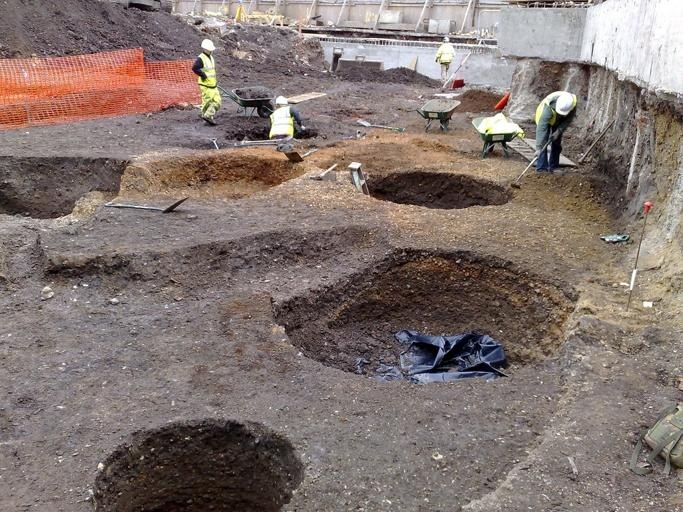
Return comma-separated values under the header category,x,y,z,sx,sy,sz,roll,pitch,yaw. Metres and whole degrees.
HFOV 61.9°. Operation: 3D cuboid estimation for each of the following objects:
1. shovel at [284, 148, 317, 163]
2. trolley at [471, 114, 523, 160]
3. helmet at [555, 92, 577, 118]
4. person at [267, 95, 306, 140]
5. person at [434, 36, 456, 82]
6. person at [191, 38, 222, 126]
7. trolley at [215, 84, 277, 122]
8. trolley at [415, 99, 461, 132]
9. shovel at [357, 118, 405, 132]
category,x,y,z,sx,sy,sz,roll,pitch,yaw
shovel,-0.694,-1.673,9.417,0.207,0.117,0.681,7,19,18
trolley,2.725,-2.152,10.063,0.799,0.453,1.058,-1,31,-6
helmet,3.315,-2.253,8.475,0.346,0.334,0.208,12,-1,8
person,-0.994,-2.465,10.293,0.682,0.448,1.072,-4,48,-4
person,3.493,-6.647,19.319,0.598,1.425,1.487,8,25,8
person,-2.688,-3.447,11.304,0.458,1.597,0.888,-2,28,-10
trolley,-1.886,-3.251,11.964,1.771,0.740,0.684,-9,44,-19
trolley,2.099,-3.045,12.200,0.872,0.481,1.105,9,35,21
shovel,0.800,-2.774,12.146,1.294,0.117,0.638,12,23,26
